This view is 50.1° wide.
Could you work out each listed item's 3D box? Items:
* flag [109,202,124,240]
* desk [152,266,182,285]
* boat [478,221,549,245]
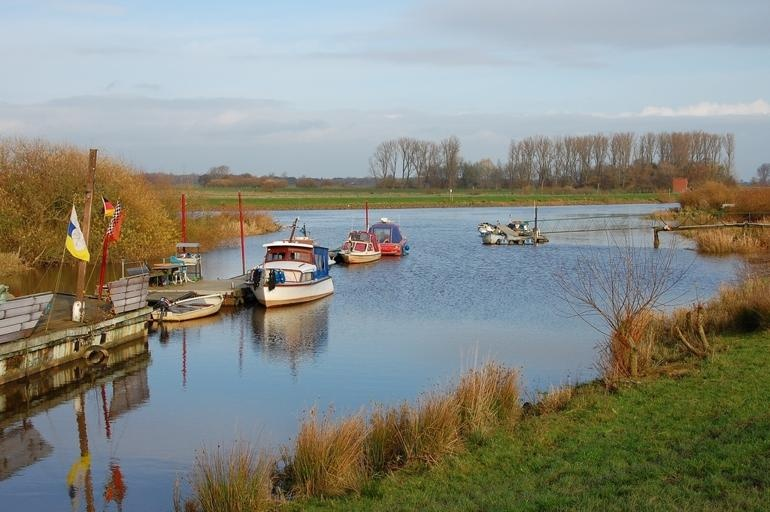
[{"bbox_3d":[-11.346,-1.343,34.788,0.502,1.982,3.946,-2,11,-16],"label":"flag"},{"bbox_3d":[-10.990,0.923,41.330,1.462,1.057,1.466,-2,11,-16],"label":"desk"},{"bbox_3d":[10.417,-1.438,69.389,4.502,1.611,2.756,-1,5,-13],"label":"boat"}]
